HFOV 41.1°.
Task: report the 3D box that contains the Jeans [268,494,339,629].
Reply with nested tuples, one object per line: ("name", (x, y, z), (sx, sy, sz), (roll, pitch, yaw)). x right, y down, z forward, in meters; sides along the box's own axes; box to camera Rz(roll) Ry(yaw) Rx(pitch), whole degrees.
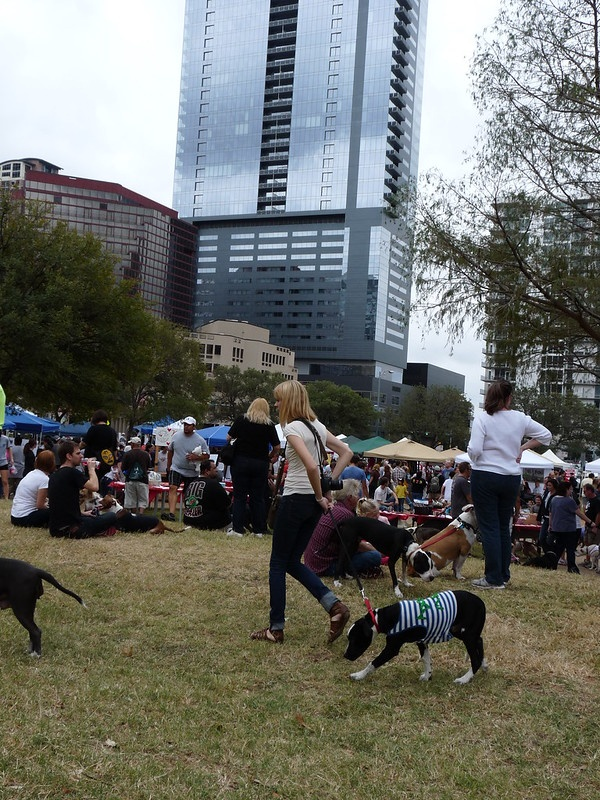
("Jeans", (-0.008, 1.130, 5.531), (0.505, 0.939, 0.429), (6, 0, -24))

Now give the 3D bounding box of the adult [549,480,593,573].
("adult", (4.180, 1.996, 12.515), (0.447, 1.412, 0.598), (6, -6, -45))

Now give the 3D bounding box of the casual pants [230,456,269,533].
("casual pants", (-0.618, 1.155, 9.684), (0.486, 0.952, 0.327), (6, -14, -20))

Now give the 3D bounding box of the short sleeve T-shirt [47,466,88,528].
("short sleeve T-shirt", (-2.436, 1.075, 8.510), (0.431, 0.718, 0.486), (1, -11, -43))

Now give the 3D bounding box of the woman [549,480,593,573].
("woman", (4.192, 2.000, 12.487), (0.623, 1.406, 0.437), (-1, -7, 40))

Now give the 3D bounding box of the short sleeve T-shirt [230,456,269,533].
("short sleeve T-shirt", (-0.617, 1.149, 9.679), (0.474, 0.934, 0.327), (5, -13, -18))

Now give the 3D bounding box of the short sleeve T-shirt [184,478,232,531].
("short sleeve T-shirt", (-1.232, 1.375, 10.744), (0.552, 0.688, 0.710), (-4, -9, 26))

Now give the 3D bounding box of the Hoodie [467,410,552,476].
("Hoodie", (1.808, 0.350, 7.001), (0.752, 0.595, 0.355), (2, 17, -7))

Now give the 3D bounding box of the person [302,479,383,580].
("person", (0.410, 1.171, 7.666), (0.672, 0.898, 0.742), (-1, 16, -12))

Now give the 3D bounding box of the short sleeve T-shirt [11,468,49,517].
("short sleeve T-shirt", (-3.049, 1.057, 9.034), (0.424, 0.574, 0.206), (6, -1, 13))

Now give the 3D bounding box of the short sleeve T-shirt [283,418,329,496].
("short sleeve T-shirt", (0.022, 0.411, 5.432), (0.266, 0.506, 0.359), (-11, -14, 27))

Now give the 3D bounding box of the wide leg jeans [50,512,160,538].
("wide leg jeans", (-2.149, 1.383, 8.805), (0.665, 0.223, 0.419), (9, -15, -35))

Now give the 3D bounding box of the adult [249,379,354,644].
("adult", (0.073, 0.773, 5.427), (0.714, 1.749, 0.631), (4, -6, -18))

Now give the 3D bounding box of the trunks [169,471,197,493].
("trunks", (-1.686, 1.171, 11.556), (0.361, 0.308, 0.200), (8, 1, 26))

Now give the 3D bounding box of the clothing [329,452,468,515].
("clothing", (2.218, 1.755, 17.045), (3.350, 0.819, 3.318), (-4, -6, 37))

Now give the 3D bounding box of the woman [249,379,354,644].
("woman", (0.092, 0.777, 5.469), (0.680, 1.743, 0.620), (4, -6, -24))

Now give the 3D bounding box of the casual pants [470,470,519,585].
("casual pants", (1.701, 1.070, 7.000), (0.413, 1.046, 0.340), (3, -2, -28))

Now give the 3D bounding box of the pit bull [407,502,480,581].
("pit bull", (1.393, 1.427, 7.792), (0.977, 0.671, 0.316), (-13, 6, -23))

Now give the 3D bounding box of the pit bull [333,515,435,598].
("pit bull", (0.685, 1.329, 6.829), (1.040, 0.552, 0.308), (8, -7, 32))

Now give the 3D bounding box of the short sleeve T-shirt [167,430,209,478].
("short sleeve T-shirt", (-1.638, 0.783, 11.619), (0.582, 0.688, 0.551), (6, 0, 0))
